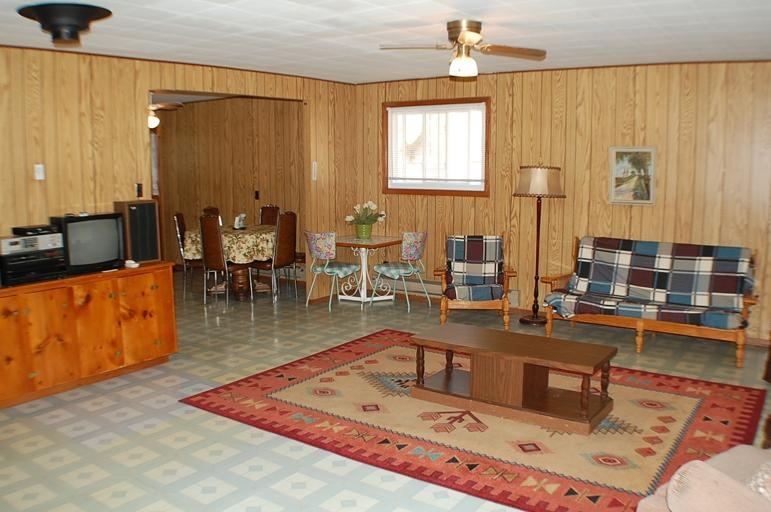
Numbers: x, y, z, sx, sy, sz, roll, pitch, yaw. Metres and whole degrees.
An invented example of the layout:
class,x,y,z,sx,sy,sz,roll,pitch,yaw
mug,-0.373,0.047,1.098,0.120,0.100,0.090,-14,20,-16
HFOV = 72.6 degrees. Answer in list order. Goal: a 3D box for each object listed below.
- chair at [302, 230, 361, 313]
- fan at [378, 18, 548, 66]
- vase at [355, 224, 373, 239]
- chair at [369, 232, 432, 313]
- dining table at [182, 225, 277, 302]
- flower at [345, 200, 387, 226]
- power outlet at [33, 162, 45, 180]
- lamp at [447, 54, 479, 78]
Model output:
class,x,y,z,sx,sy,sz,roll,pitch,yaw
chair,-0.858,0.172,7.872,0.769,1.099,0.898,-5,11,-17
fan,0.727,-1.894,4.620,1.437,0.199,1.107,4,24,-1
vase,-0.319,-0.372,7.861,0.284,0.211,0.252,6,11,26
chair,0.254,0.189,7.814,0.844,1.097,0.909,-2,10,-1
dining table,-2.379,-0.013,8.006,0.618,1.160,0.730,5,3,41
flower,-0.293,-0.647,8.072,0.579,0.288,0.498,-3,4,-3
power outlet,-3.486,-0.842,5.276,0.018,0.172,0.098,6,14,34
lamp,0.685,-1.666,4.636,0.218,0.182,0.307,-1,9,4
